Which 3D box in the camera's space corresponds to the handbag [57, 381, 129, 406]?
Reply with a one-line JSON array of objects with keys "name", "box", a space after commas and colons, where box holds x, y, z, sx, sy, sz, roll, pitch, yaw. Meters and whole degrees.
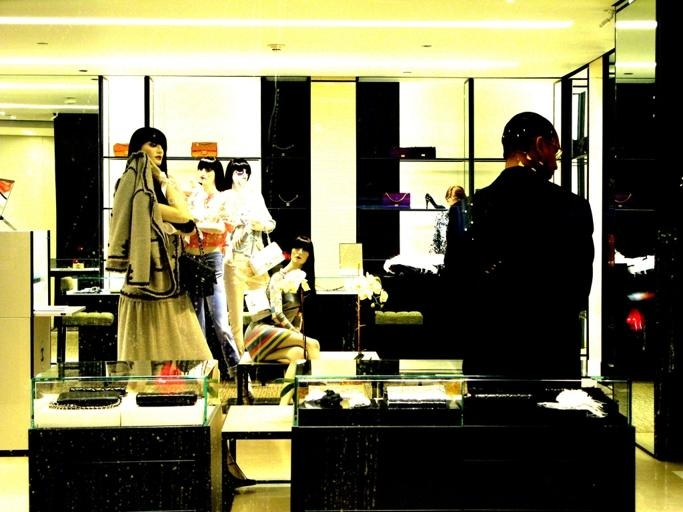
[{"name": "handbag", "box": [-1.214, 0.671, 3.825, 0.218, 0.053, 0.156, 1, 1, -5]}]

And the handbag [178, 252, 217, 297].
[{"name": "handbag", "box": [-0.878, 0.093, 4.797, 0.205, 0.269, 0.095, 3, -38, -34]}]

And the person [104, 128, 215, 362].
[{"name": "person", "box": [-1.092, 0.017, 4.764, 0.591, 1.249, 0.390, -1, 4, -18]}]

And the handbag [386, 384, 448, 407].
[{"name": "handbag", "box": [0.366, 0.676, 3.853, 0.300, 0.097, 0.031, 0, 4, -3]}]
